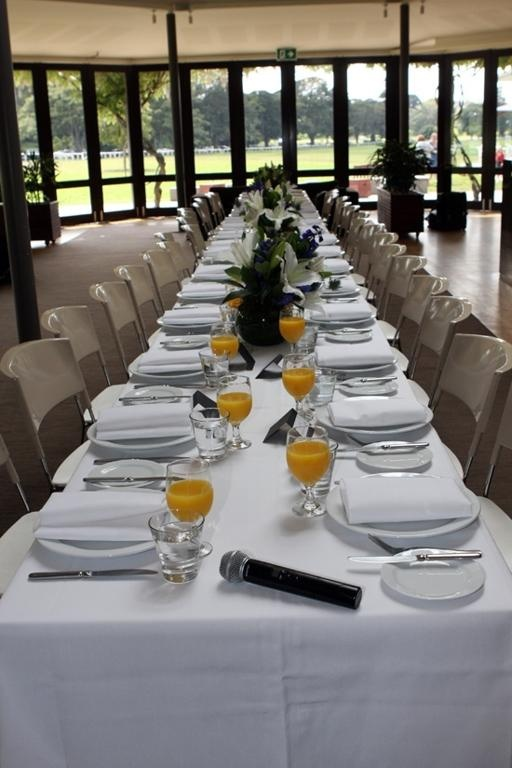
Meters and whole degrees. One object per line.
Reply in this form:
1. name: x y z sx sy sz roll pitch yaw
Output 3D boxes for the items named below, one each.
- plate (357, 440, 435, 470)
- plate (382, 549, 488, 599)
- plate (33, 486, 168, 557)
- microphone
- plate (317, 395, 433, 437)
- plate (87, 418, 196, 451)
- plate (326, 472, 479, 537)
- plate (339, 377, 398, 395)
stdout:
1. plate: 0.328 0.167 1.302 0.187 0.044 0.151 -2 5 2
2. plate: 0.282 0.285 0.841 0.188 0.033 0.111 -3 6 -10
3. plate: -0.284 0.242 0.993 0.145 0.035 0.133 4 26 1
4. microphone: 0.041 0.268 0.874 0.232 0.069 0.072 12 -1 28
5. plate: 0.314 0.081 1.470 0.165 0.036 0.152 -2 17 3
6. plate: -0.292 0.139 1.426 0.175 0.038 0.108 -3 13 -1
7. plate: 0.262 0.214 1.012 0.140 0.037 0.153 -2 12 5
8. plate: 0.350 0.008 1.764 0.113 0.019 0.086 -8 18 -3
